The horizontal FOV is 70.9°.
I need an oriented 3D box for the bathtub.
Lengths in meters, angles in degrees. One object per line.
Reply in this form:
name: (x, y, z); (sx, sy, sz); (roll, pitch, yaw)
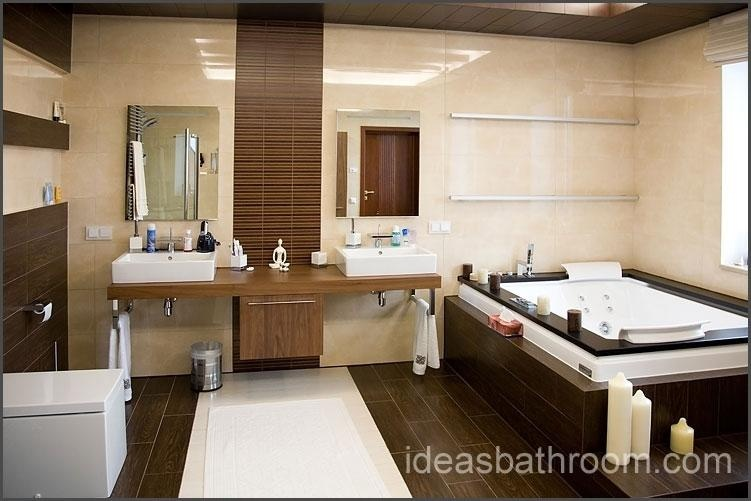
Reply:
bathtub: (1.761, 0.572, 3.683); (1.332, 0.643, 1.953); (-2, 7, -12)

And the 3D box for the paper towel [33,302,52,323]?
paper towel: (-2.514, 0.473, 3.984); (0.151, 0.114, 0.122); (1, 0, 13)

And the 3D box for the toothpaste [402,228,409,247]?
toothpaste: (0.290, -0.123, 5.007); (0.077, 0.161, 0.032); (-5, 8, -26)

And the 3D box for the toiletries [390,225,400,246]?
toiletries: (0.194, -0.140, 5.013); (0.085, 0.191, 0.069); (-1, 7, 1)

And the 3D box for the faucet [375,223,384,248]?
faucet: (0.020, -0.136, 4.990); (0.082, 0.210, 0.093); (1, 7, 12)

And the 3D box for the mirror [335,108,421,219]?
mirror: (0.035, -0.678, 5.025); (0.727, 0.914, 0.105); (-9, 17, -35)

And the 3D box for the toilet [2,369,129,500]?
toilet: (-2.037, 0.933, 3.652); (0.671, 0.747, 1.229); (-1, 2, -17)

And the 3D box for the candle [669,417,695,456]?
candle: (2.030, 1.216, 3.467); (0.163, 0.220, 0.116); (1, 7, 12)

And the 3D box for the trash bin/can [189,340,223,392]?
trash bin/can: (-1.486, 1.031, 4.616); (0.311, 0.308, 0.265); (2, -5, -33)

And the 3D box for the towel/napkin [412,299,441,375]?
towel/napkin: (0.451, 0.813, 4.852); (0.298, 0.647, 0.687); (-1, 1, -8)

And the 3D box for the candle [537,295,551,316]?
candle: (1.310, 0.438, 4.197); (0.137, 0.148, 0.135); (0, 2, 9)

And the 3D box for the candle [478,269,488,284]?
candle: (1.008, 0.245, 4.932); (0.119, 0.128, 0.116); (0, 2, -19)

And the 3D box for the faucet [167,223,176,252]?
faucet: (-1.820, -0.102, 4.693); (0.053, 0.232, 0.150); (-4, 8, -20)

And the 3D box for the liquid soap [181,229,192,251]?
liquid soap: (-1.686, -0.090, 4.739); (0.086, 0.184, 0.099); (-4, 8, -21)

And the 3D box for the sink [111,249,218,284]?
sink: (-1.756, 0.138, 4.456); (0.805, 0.181, 0.440); (-1, 11, -9)

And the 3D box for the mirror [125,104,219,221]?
mirror: (-1.836, -0.810, 4.663); (1.073, 1.354, 0.058); (0, 4, -7)
